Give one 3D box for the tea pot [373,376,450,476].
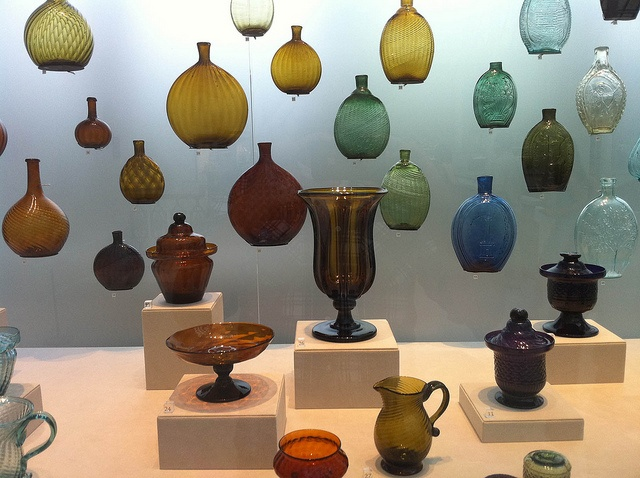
[{"bbox_3d":[0.371,0.884,2.878,0.431,0.502,0.345,1,-1,-3],"label":"tea pot"}]
